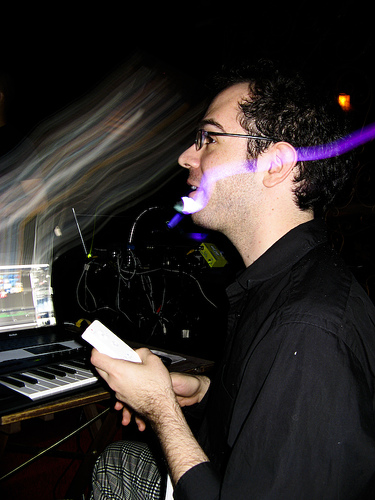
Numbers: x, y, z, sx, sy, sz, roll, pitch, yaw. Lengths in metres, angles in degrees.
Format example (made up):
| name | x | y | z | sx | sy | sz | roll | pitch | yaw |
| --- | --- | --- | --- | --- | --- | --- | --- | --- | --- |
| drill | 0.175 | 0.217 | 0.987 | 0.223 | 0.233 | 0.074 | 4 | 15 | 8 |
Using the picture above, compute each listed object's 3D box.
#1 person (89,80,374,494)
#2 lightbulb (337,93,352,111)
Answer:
| name | x | y | z | sx | sy | sz | roll | pitch | yaw |
| --- | --- | --- | --- | --- | --- | --- | --- | --- | --- |
| person | 0.181 | 0.017 | 1.253 | 0.654 | 1.064 | 0.847 | -11 | 3 | 26 |
| lightbulb | 1.089 | -1.031 | 2.803 | 0.066 | 0.104 | 0.154 | -11 | 3 | 26 |
